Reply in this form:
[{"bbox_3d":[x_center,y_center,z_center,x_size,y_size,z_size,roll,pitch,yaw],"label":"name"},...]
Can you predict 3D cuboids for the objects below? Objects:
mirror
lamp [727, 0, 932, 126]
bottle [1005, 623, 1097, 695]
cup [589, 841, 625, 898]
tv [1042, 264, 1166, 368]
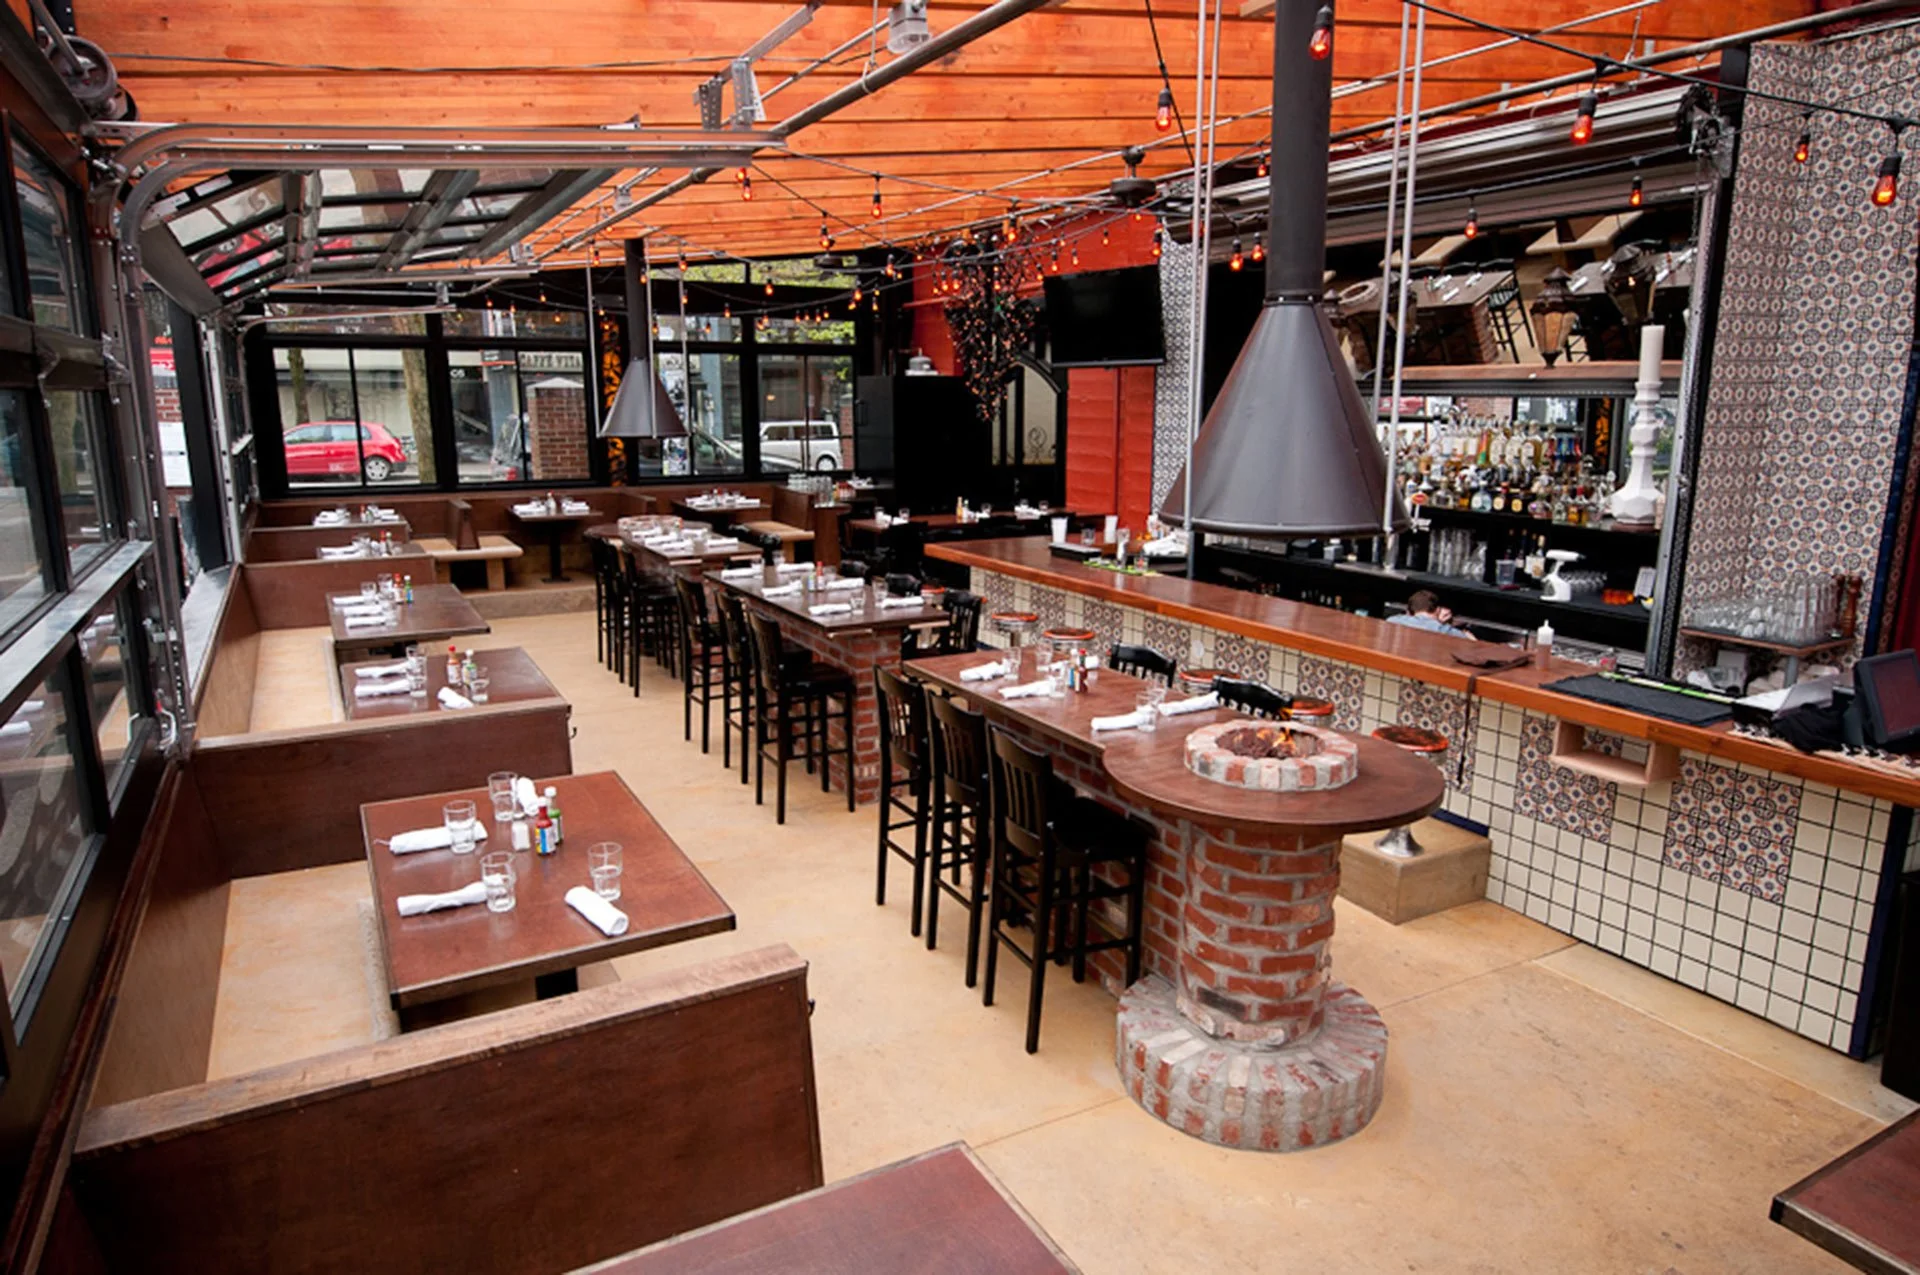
[{"bbox_3d":[3.529,-2.209,7.721,0.373,0.759,2.243,-10,19,-22],"label":"mirror"},{"bbox_3d":[-0.527,-2.593,5.481,0.860,0.215,0.483,8,33,46],"label":"lamp"},{"bbox_3d":[0.463,0.122,6.249,0.433,0.089,0.372,2,14,15],"label":"bottle"},{"bbox_3d":[-1.348,0.885,4.734,0.147,0.154,0.146,1,17,0],"label":"cup"},{"bbox_3d":[1.342,-2.989,11.676,0.202,0.831,1.439,-15,19,-36],"label":"tv"}]
